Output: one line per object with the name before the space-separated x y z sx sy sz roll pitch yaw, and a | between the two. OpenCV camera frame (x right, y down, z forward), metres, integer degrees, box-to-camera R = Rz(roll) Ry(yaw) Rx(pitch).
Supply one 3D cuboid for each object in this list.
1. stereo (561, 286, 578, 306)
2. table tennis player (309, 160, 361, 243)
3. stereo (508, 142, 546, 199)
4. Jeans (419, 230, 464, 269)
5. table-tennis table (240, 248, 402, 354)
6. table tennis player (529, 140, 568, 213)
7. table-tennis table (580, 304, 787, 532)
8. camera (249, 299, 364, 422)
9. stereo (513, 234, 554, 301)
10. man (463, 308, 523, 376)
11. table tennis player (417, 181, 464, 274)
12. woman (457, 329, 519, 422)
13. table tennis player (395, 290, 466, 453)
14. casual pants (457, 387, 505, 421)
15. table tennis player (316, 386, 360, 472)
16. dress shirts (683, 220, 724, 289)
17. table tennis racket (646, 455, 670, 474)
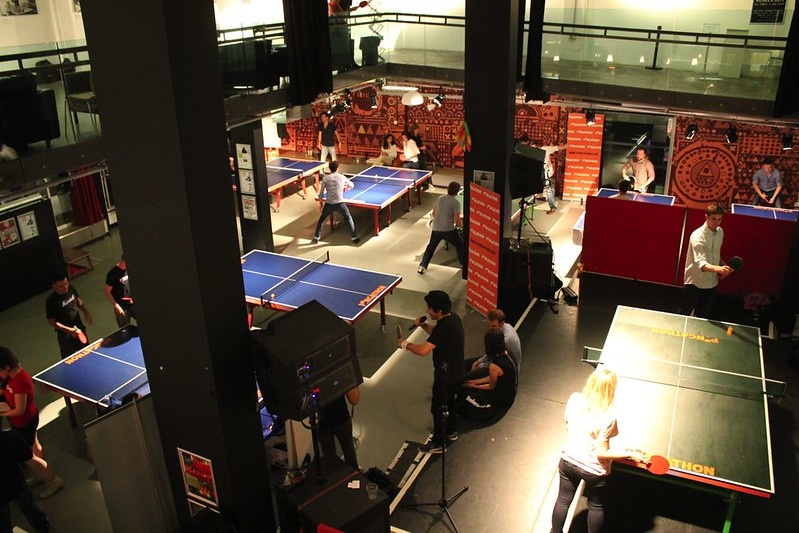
stereo | 2.868 0.503 10.329 0.224 0.130 0.306 -21 47 -25
table tennis player | -1.403 -1.419 13.086 1.000 1.702 0.938 -2 20 -5
stereo | 2.050 -1.625 10.145 0.522 0.990 0.714 2 25 -1
Jeans | 0.828 -0.291 11.962 0.729 0.710 0.301 7 53 11
table-tennis table | -1.404 1.021 10.307 2.006 0.700 1.388 12 32 21
table tennis player | 3.228 -1.898 13.243 0.391 1.538 1.424 3 29 12
table-tennis table | 3.300 1.906 7.370 1.936 0.949 2.637 8 42 18
camera | -0.927 0.940 6.134 0.970 0.896 0.646 -11 23 -27
stereo | 2.183 0.073 10.111 0.762 1.086 0.583 7 28 27
man | 1.240 1.250 8.259 0.700 1.277 0.505 2 8 -29
table tennis player | 0.820 -0.730 11.505 0.854 1.831 0.915 -16 25 -37
woman | 1.161 1.465 7.996 0.800 1.147 0.499 22 44 32
table tennis player | 0.393 1.493 8.206 1.001 2.360 0.981 8 29 18
casual pants | 1.032 1.821 7.974 0.431 0.180 0.431 -16 27 -36
table tennis player | -0.753 1.696 7.230 0.489 0.399 1.415 -6 39 -7
dress shirts | 4.320 -0.175 8.745 0.467 0.684 0.826 12 25 41
table tennis racket | 2.619 2.010 6.241 0.229 0.101 0.166 -12 24 -30
